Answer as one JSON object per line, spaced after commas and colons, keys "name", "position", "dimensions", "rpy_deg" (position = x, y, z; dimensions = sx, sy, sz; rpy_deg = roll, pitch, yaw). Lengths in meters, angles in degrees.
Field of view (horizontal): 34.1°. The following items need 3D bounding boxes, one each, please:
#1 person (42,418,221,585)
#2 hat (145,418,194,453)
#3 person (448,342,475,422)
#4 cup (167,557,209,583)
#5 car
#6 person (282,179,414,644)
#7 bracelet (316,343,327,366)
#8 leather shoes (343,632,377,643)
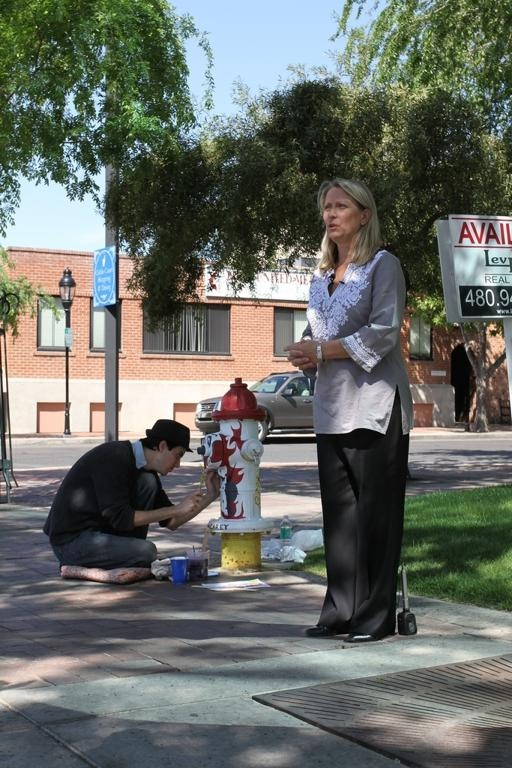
{"name": "person", "position": [-0.800, 0.711, 5.025], "dimensions": [0.933, 0.960, 0.521], "rpy_deg": [-2, -3, -12]}
{"name": "hat", "position": [-0.541, 0.313, 5.023], "dimensions": [0.272, 0.191, 0.201], "rpy_deg": [-2, -3, -8]}
{"name": "person", "position": [9.073, 0.088, 37.445], "dimensions": [0.925, 3.688, 0.219], "rpy_deg": [6, -18, -12]}
{"name": "cup", "position": [-0.403, 1.122, 5.017], "dimensions": [0.186, 0.106, 0.145], "rpy_deg": [1, -3, -22]}
{"name": "car", "position": [0.049, 0.578, 23.602], "dimensions": [3.275, 1.491, 1.743], "rpy_deg": [1, -3, -21]}
{"name": "person", "position": [0.399, 0.082, 3.605], "dimensions": [0.504, 1.979, 0.388], "rpy_deg": [-4, -3, 21]}
{"name": "bracelet", "position": [0.287, -0.137, 3.561], "dimensions": [0.055, 0.080, 0.075], "rpy_deg": [0, -9, 7]}
{"name": "leather shoes", "position": [0.418, 1.032, 3.416], "dimensions": [0.135, 0.053, 0.044], "rpy_deg": [-1, 5, -1]}
